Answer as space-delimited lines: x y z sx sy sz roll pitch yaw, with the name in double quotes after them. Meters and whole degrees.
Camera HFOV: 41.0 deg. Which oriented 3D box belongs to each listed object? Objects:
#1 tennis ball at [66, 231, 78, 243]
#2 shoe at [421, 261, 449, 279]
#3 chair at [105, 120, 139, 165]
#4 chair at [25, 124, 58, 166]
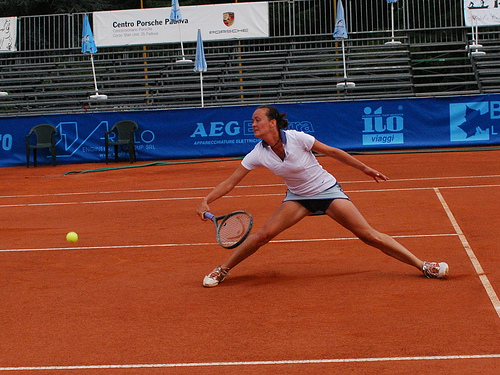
-2.775 0.757 10.339 0.193 0.174 0.180 -1 12 0 "tennis ball"
2.246 0.993 7.981 0.392 0.209 0.159 -6 12 -16 "shoe"
-3.853 -1.392 20.183 1.045 1.207 0.841 -3 7 -6 "chair"
-6.324 -1.301 20.307 0.975 1.129 0.872 -4 9 -20 "chair"
